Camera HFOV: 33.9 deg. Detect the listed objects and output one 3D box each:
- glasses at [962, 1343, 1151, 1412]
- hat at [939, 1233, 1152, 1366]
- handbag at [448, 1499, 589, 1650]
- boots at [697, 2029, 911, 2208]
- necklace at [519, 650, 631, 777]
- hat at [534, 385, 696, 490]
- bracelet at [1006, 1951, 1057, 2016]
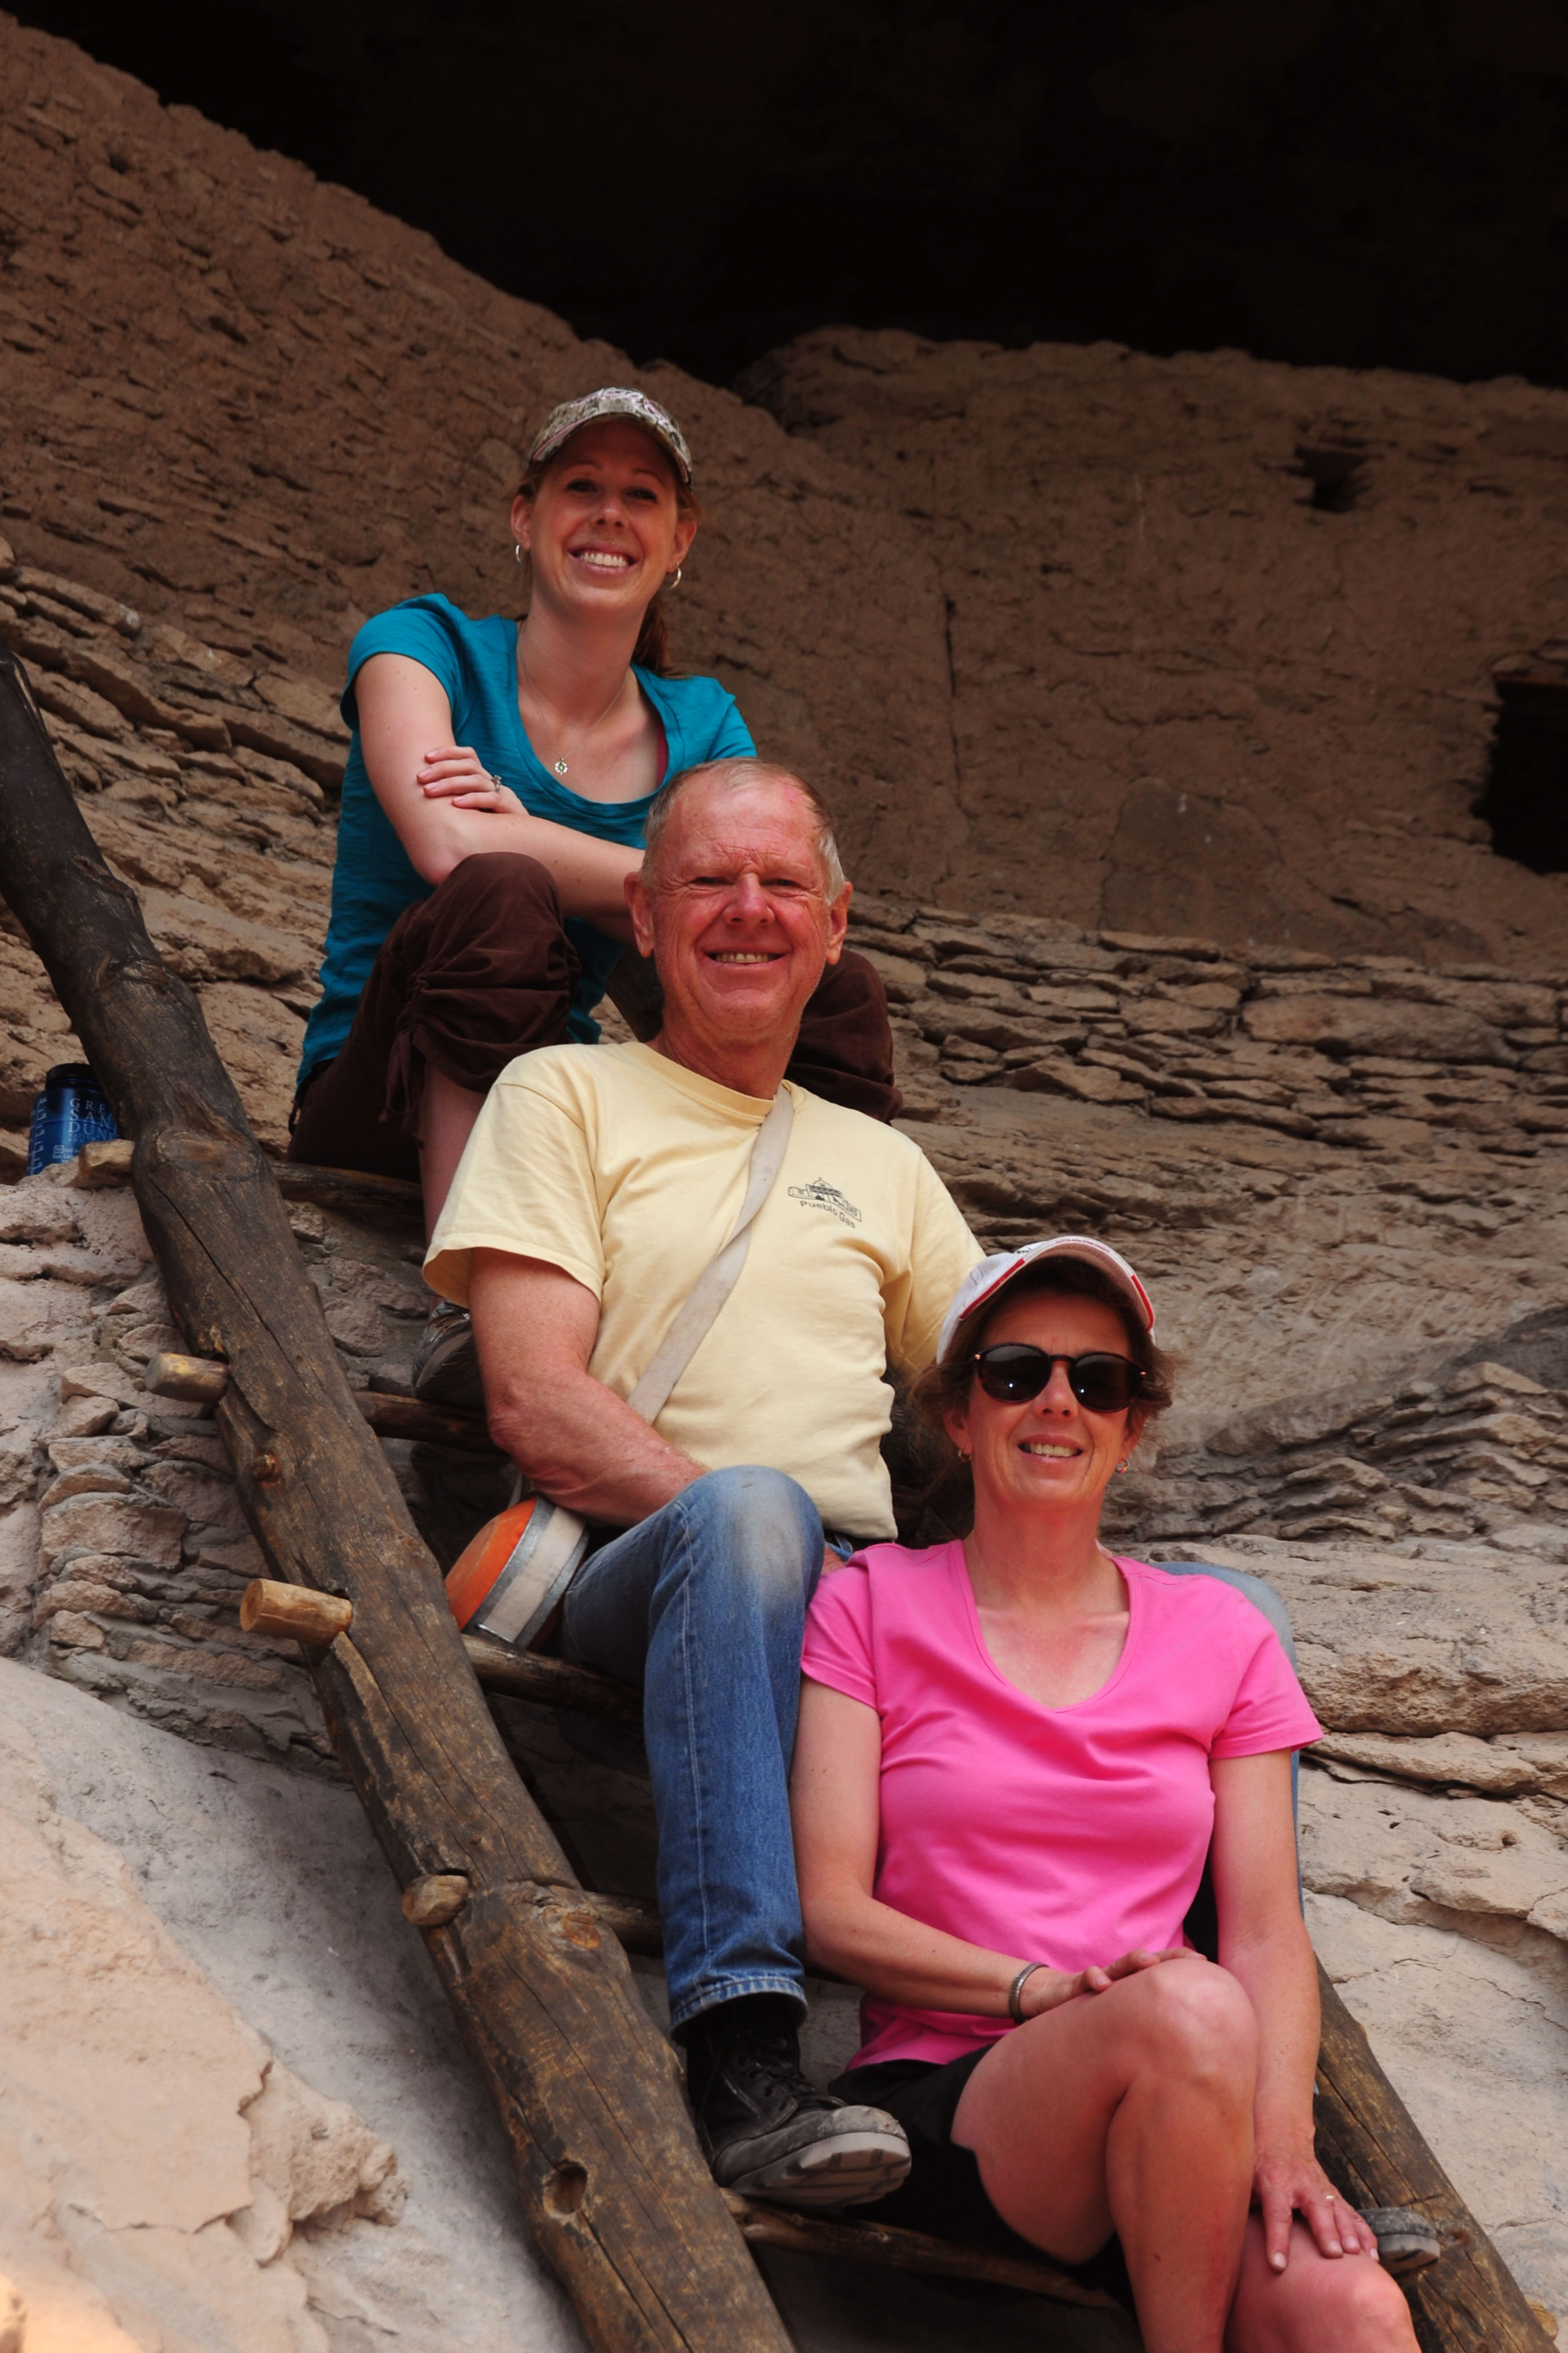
[{"bbox_3d":[0.262,0.198,2.486,0.090,0.029,0.085,2,-29,-3],"label":"glasses"},{"bbox_3d":[0.259,0.141,2.639,0.210,0.112,0.268,10,-2,4],"label":"hat"},{"bbox_3d":[-0.245,0.401,2.558,0.072,0.141,0.140,37,14,-13],"label":"handbag"},{"bbox_3d":[-0.005,0.732,2.036,0.096,0.147,0.247,10,-28,-27],"label":"boots"},{"bbox_3d":[-0.279,-0.630,3.579,0.165,0.192,0.069,1,1,-17],"label":"necklace"},{"bbox_3d":[-0.267,-1.054,3.697,0.246,0.111,0.277,3,7,-15],"label":"hat"},{"bbox_3d":[0.195,0.652,2.063,0.020,0.042,0.033,32,10,41],"label":"bracelet"}]
